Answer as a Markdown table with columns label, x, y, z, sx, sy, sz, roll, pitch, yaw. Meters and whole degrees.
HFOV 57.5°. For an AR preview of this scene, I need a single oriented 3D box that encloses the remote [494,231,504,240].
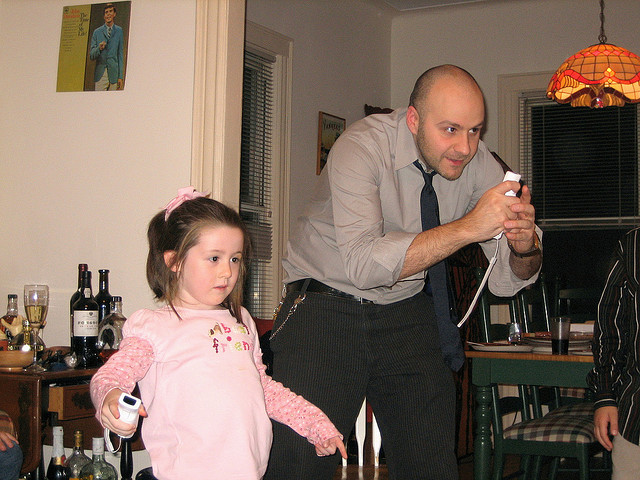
| label | x | y | z | sx | sy | sz | roll | pitch | yaw |
| --- | --- | --- | --- | --- | --- | --- | --- | --- | --- |
| remote | 0.575 | -0.019 | 1.883 | 0.033 | 0.014 | 0.011 | -34 | 23 | -31 |

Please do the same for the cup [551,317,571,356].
| label | x | y | z | sx | sy | sz | roll | pitch | yaw |
| --- | --- | --- | --- | --- | --- | --- | --- | --- | --- |
| cup | 1.114 | 0.442 | 2.704 | 0.078 | 0.163 | 0.237 | -1 | -4 | 21 |

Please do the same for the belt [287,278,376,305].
| label | x | y | z | sx | sy | sz | roll | pitch | yaw |
| --- | --- | --- | --- | --- | --- | --- | --- | --- | --- |
| belt | 0.024 | 0.167 | 1.903 | 0.297 | 0.077 | 0.086 | -2 | -4 | 29 |

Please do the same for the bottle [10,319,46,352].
| label | x | y | z | sx | sy | sz | roll | pitch | yaw |
| --- | --- | --- | --- | --- | --- | --- | --- | --- | --- |
| bottle | -1.239 | 0.408 | 2.488 | 0.113 | 0.156 | 0.117 | 0 | -5 | 0 |

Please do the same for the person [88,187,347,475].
| label | x | y | z | sx | sy | sz | roll | pitch | yaw |
| --- | --- | --- | --- | --- | --- | --- | --- | --- | --- |
| person | -0.355 | 0.241 | 1.580 | 0.437 | 0.820 | 0.412 | 1 | -4 | -3 |

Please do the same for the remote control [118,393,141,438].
| label | x | y | z | sx | sy | sz | roll | pitch | yaw |
| --- | --- | --- | --- | --- | --- | --- | --- | --- | --- |
| remote control | -0.451 | 0.401 | 1.378 | 0.052 | 0.072 | 0.042 | 1 | -4 | -11 |
